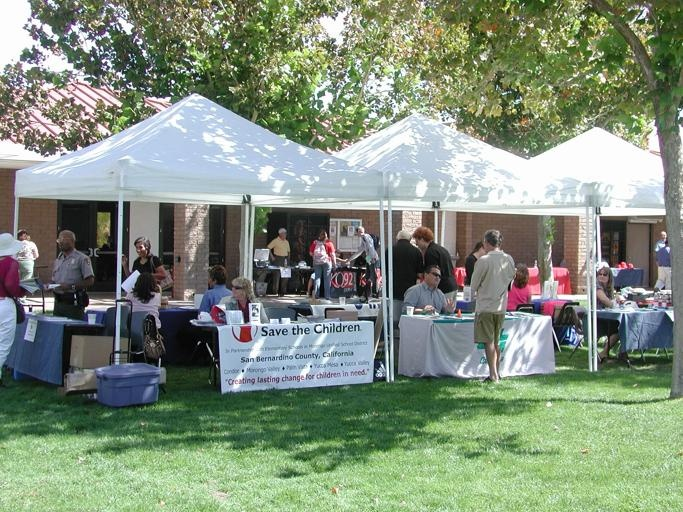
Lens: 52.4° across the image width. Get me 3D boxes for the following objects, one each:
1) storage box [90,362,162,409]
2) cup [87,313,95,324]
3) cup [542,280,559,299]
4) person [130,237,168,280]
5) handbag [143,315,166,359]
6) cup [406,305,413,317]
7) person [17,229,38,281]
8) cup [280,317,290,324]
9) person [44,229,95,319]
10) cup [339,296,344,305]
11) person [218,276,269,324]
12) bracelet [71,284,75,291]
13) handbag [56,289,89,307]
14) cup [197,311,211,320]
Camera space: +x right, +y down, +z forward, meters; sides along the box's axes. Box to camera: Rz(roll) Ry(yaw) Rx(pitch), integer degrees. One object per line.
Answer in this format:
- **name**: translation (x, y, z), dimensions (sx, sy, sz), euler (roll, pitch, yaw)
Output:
- **storage box**: translation (-2.681, 1.613, 8.622), dimensions (0.569, 0.455, 0.737), euler (1, 0, 40)
- **cup**: translation (-3.613, 0.876, 9.915), dimensions (0.127, 0.172, 0.128), euler (2, 4, 0)
- **cup**: translation (4.221, 0.660, 14.068), dimensions (0.322, 0.480, 0.338), euler (1, 3, 0)
- **person**: translation (-4.005, 0.020, 14.180), dimensions (0.593, 1.277, 0.400), euler (-14, -10, 21)
- **handbag**: translation (-2.551, 1.097, 9.316), dimensions (0.256, 0.727, 0.721), euler (-1, 4, -16)
- **cup**: translation (1.024, 0.825, 10.483), dimensions (0.103, 0.115, 0.108), euler (1, 1, 0)
- **person**: translation (-7.454, 0.110, 16.255), dimensions (0.498, 1.514, 0.448), euler (7, 18, -3)
- **cup**: translation (-0.779, 0.888, 9.602), dimensions (0.074, 0.055, 0.073), euler (0, 1, 0)
- **person**: translation (-4.152, 0.302, 10.628), dimensions (0.551, 1.358, 0.671), euler (-1, 4, -24)
- **cup**: translation (-0.008, 0.859, 13.191), dimensions (0.087, 0.120, 0.092), euler (1, 4, 0)
- **person**: translation (-1.371, 0.664, 9.616), dimensions (0.393, 0.732, 0.701), euler (6, 0, -42)
- **bracelet**: translation (-4.071, 0.456, 10.460), dimensions (0.041, 0.065, 0.019), euler (4, -4, -5)
- **handbag**: translation (-4.083, 0.633, 10.550), dimensions (0.332, 0.145, 0.251), euler (-1, 1, 39)
- **cup**: translation (-1.944, 0.843, 9.750), dimensions (0.098, 0.119, 0.161), euler (0, -4, -15)
